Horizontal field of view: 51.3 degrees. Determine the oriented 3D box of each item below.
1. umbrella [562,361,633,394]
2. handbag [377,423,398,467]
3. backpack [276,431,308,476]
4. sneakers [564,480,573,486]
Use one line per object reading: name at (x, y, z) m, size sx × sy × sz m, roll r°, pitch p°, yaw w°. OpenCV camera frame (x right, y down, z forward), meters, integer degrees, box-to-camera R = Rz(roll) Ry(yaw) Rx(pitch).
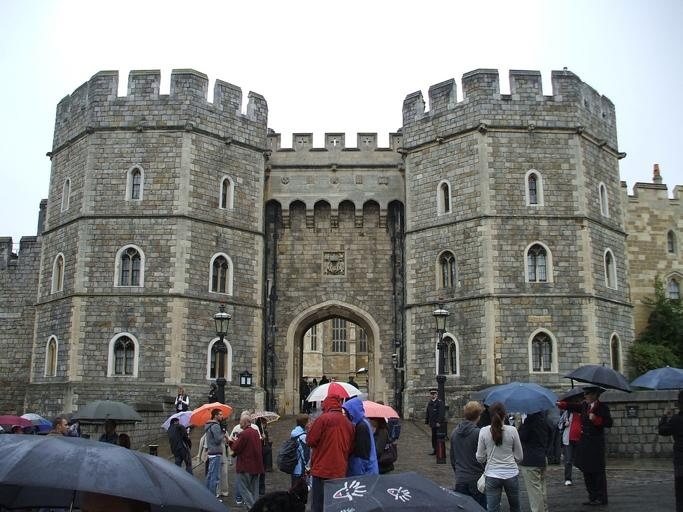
umbrella at (4.923, 2.320, 13.585) m, size 0.810 × 0.373 × 0.840 m, roll 5°, pitch -12°, yaw 33°
handbag at (0.701, 2.985, 11.203) m, size 0.279 × 0.832 × 0.677 m, roll -2°, pitch -13°, yaw 9°
backpack at (-0.779, 3.268, 11.727) m, size 0.431 × 0.718 × 1.019 m, roll -1°, pitch -13°, yaw 4°
sneakers at (4.502, 4.466, 14.036) m, size 0.084 × 0.092 × 0.208 m, roll -1°, pitch -20°, yaw 3°
